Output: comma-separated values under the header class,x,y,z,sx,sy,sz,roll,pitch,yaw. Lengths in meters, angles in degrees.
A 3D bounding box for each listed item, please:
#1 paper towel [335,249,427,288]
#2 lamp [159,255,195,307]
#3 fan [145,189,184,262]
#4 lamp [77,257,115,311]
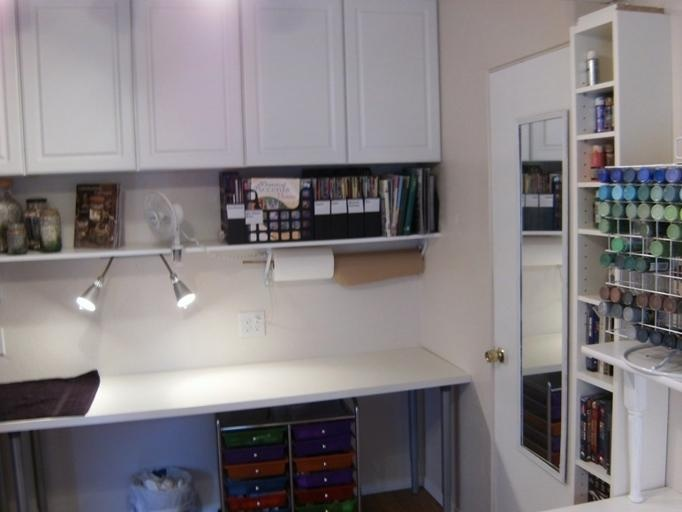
class,x,y,z,sx,sy,sz,roll,pitch,yaw
paper towel,0.205,0.052,3.203,0.400,0.239,0.142,-4,-23,-4
lamp,-0.838,0.120,2.967,0.084,0.231,0.081,-22,-16,-19
fan,-0.861,-0.153,2.839,0.119,0.325,0.340,-10,14,-42
lamp,-1.193,0.169,2.868,0.194,0.281,0.330,-6,12,-26
